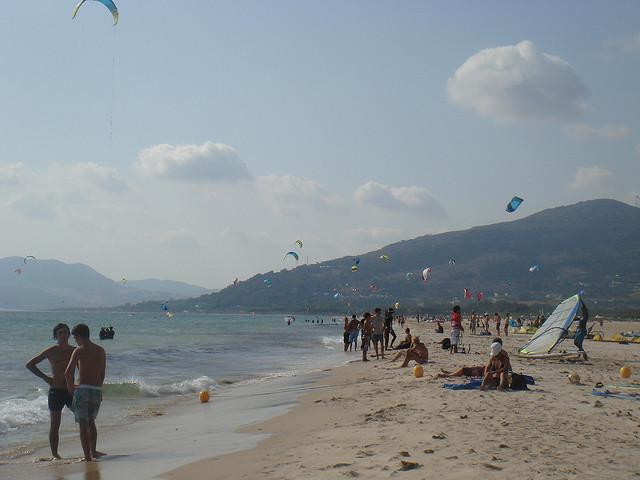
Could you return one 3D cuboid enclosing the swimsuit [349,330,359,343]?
[{"bbox_3d":[1.405,3.903,25.153,0.371,0.624,0.719,-7,3,2],"label":"swimsuit"}]

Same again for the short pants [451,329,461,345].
[{"bbox_3d":[4.635,3.270,20.870,0.303,0.620,0.539,-7,3,2],"label":"short pants"}]

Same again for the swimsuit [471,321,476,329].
[{"bbox_3d":[9.954,5.549,39.881,0.097,0.446,0.537,-5,4,29],"label":"swimsuit"}]

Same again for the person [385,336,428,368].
[{"bbox_3d":[2.741,3.323,18.554,1.128,0.892,0.579,-3,5,15],"label":"person"}]

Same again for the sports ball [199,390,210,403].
[{"bbox_3d":[-3.030,4.200,16.550,0.286,0.304,0.218,0,3,41],"label":"sports ball"}]

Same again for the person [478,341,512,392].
[{"bbox_3d":[4.015,2.879,14.091,0.567,1.021,0.805,-6,4,26],"label":"person"}]

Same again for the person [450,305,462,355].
[{"bbox_3d":[4.678,3.039,20.982,0.383,1.608,0.546,5,-7,-8],"label":"person"}]

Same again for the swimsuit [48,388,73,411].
[{"bbox_3d":[-4.962,3.022,11.900,0.549,0.486,0.383,5,-13,-35],"label":"swimsuit"}]

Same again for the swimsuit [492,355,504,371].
[{"bbox_3d":[4.131,2.832,14.230,0.127,0.370,0.266,4,4,-16],"label":"swimsuit"}]

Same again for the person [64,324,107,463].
[{"bbox_3d":[-4.354,2.858,11.600,0.773,2.479,0.342,-9,4,-27],"label":"person"}]

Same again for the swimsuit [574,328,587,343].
[{"bbox_3d":[8.663,3.142,20.459,0.326,0.540,0.433,-5,4,32],"label":"swimsuit"}]

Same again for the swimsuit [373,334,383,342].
[{"bbox_3d":[2.056,3.394,21.661,0.372,0.364,0.218,4,7,29],"label":"swimsuit"}]

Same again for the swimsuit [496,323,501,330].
[{"bbox_3d":[10.192,4.925,35.165,0.280,0.502,0.358,2,-2,13],"label":"swimsuit"}]

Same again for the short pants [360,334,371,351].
[{"bbox_3d":[1.606,3.675,21.884,0.320,0.544,0.535,8,8,14],"label":"short pants"}]

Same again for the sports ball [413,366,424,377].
[{"bbox_3d":[2.606,3.457,16.248,0.222,0.249,0.254,-1,0,-12],"label":"sports ball"}]

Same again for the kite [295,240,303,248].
[{"bbox_3d":[-0.493,0.090,15.532,0.206,0.261,0.114,-7,6,-14],"label":"kite"}]

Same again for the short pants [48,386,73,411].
[{"bbox_3d":[-4.964,2.995,11.911,0.575,0.556,0.391,3,-14,-36],"label":"short pants"}]

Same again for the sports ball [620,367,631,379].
[{"bbox_3d":[8.135,3.539,16.384,0.220,0.262,0.222,4,27,-2],"label":"sports ball"}]
